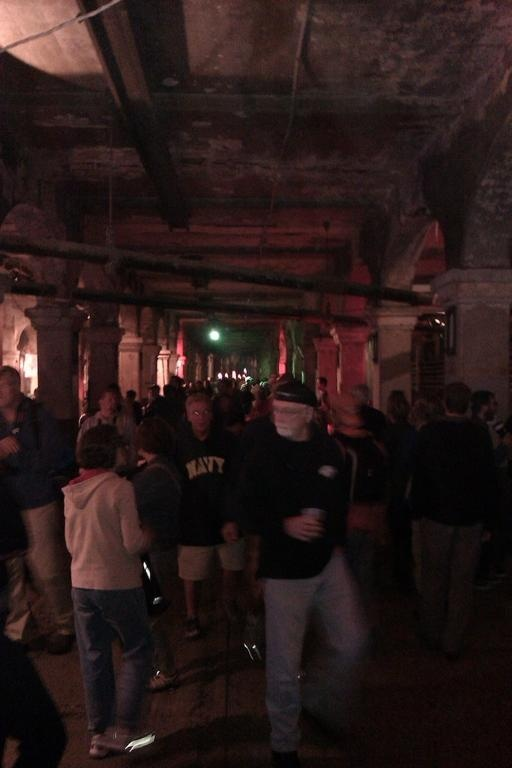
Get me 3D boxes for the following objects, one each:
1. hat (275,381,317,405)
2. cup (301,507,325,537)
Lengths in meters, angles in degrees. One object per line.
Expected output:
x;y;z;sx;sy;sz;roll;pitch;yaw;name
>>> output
0.183;0.058;3.274;0.106;0.065;0.144;15;-1;22;hat
0.237;0.570;3.048;0.117;0.098;0.105;4;-3;-34;cup
